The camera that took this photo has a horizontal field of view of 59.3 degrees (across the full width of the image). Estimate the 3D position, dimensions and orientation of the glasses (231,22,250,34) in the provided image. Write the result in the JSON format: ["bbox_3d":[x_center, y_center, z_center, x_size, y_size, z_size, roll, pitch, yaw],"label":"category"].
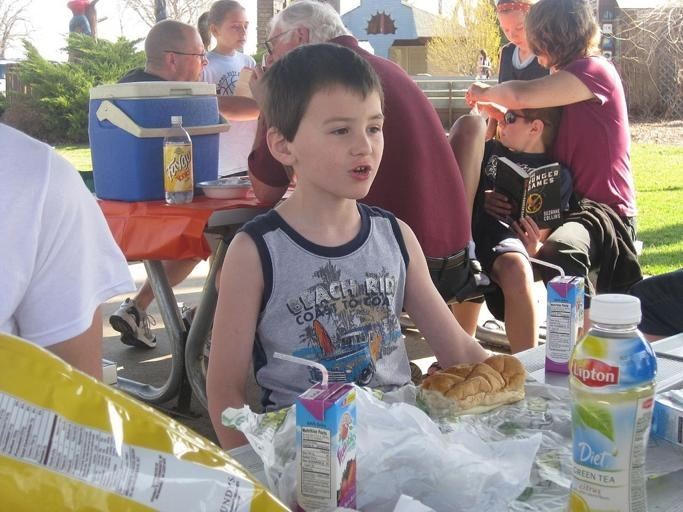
[{"bbox_3d":[-0.823,-1.856,4.901,0.079,0.117,0.113,3,-13,11],"label":"glasses"}]

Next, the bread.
[{"bbox_3d":[0.274,0.263,1.223,0.170,0.062,0.107,-7,14,-7],"label":"bread"}]

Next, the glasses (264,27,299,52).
[{"bbox_3d":[-0.257,-0.875,2.432,0.085,0.026,0.086,-29,8,-2],"label":"glasses"}]

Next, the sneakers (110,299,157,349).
[{"bbox_3d":[-1.292,0.439,3.788,0.191,0.206,0.444,4,-33,14],"label":"sneakers"}]

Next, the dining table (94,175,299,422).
[{"bbox_3d":[-0.668,0.185,2.655,0.908,0.738,0.788,-7,9,-43],"label":"dining table"}]

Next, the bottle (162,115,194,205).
[{"bbox_3d":[-0.672,-0.367,2.426,0.134,0.305,0.108,-3,9,-2],"label":"bottle"}]

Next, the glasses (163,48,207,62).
[{"bbox_3d":[-0.935,-1.243,3.692,0.099,0.045,0.306,3,11,35],"label":"glasses"}]
